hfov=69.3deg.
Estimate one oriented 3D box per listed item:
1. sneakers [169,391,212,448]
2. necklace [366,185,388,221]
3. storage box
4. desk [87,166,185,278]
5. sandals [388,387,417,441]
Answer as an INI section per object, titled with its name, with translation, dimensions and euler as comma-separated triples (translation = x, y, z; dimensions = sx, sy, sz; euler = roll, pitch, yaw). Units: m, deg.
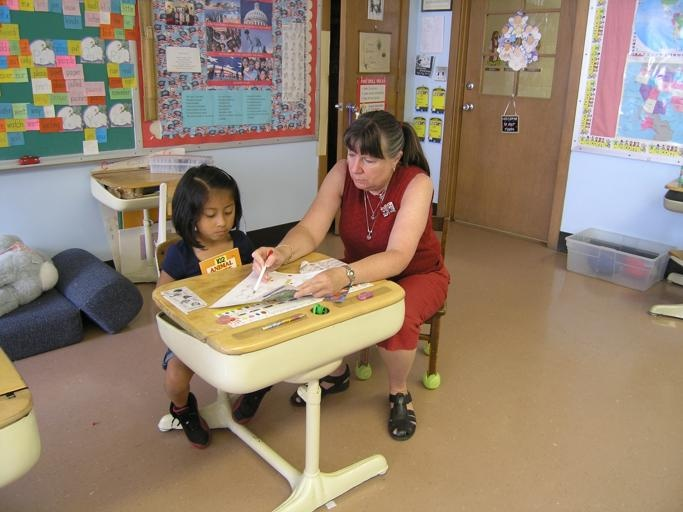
[sneakers]
translation = -0.642, 0.698, 2.080
dimensions = 0.080, 0.242, 0.101
euler = -29, 4, 10
[necklace]
translation = 0.154, -0.228, 2.107
dimensions = 0.099, 0.183, 0.018
euler = 19, 18, 36
[storage box]
translation = 2.063, 0.051, 3.772
dimensions = 0.595, 0.258, 0.434
euler = 18, 27, 37
[desk]
translation = -1.285, -0.241, 3.048
dimensions = 0.422, 0.527, 0.530
euler = 24, 32, 38
[sandals]
translation = 0.273, 0.694, 2.201
dimensions = 0.087, 0.097, 0.234
euler = -3, 18, 3
